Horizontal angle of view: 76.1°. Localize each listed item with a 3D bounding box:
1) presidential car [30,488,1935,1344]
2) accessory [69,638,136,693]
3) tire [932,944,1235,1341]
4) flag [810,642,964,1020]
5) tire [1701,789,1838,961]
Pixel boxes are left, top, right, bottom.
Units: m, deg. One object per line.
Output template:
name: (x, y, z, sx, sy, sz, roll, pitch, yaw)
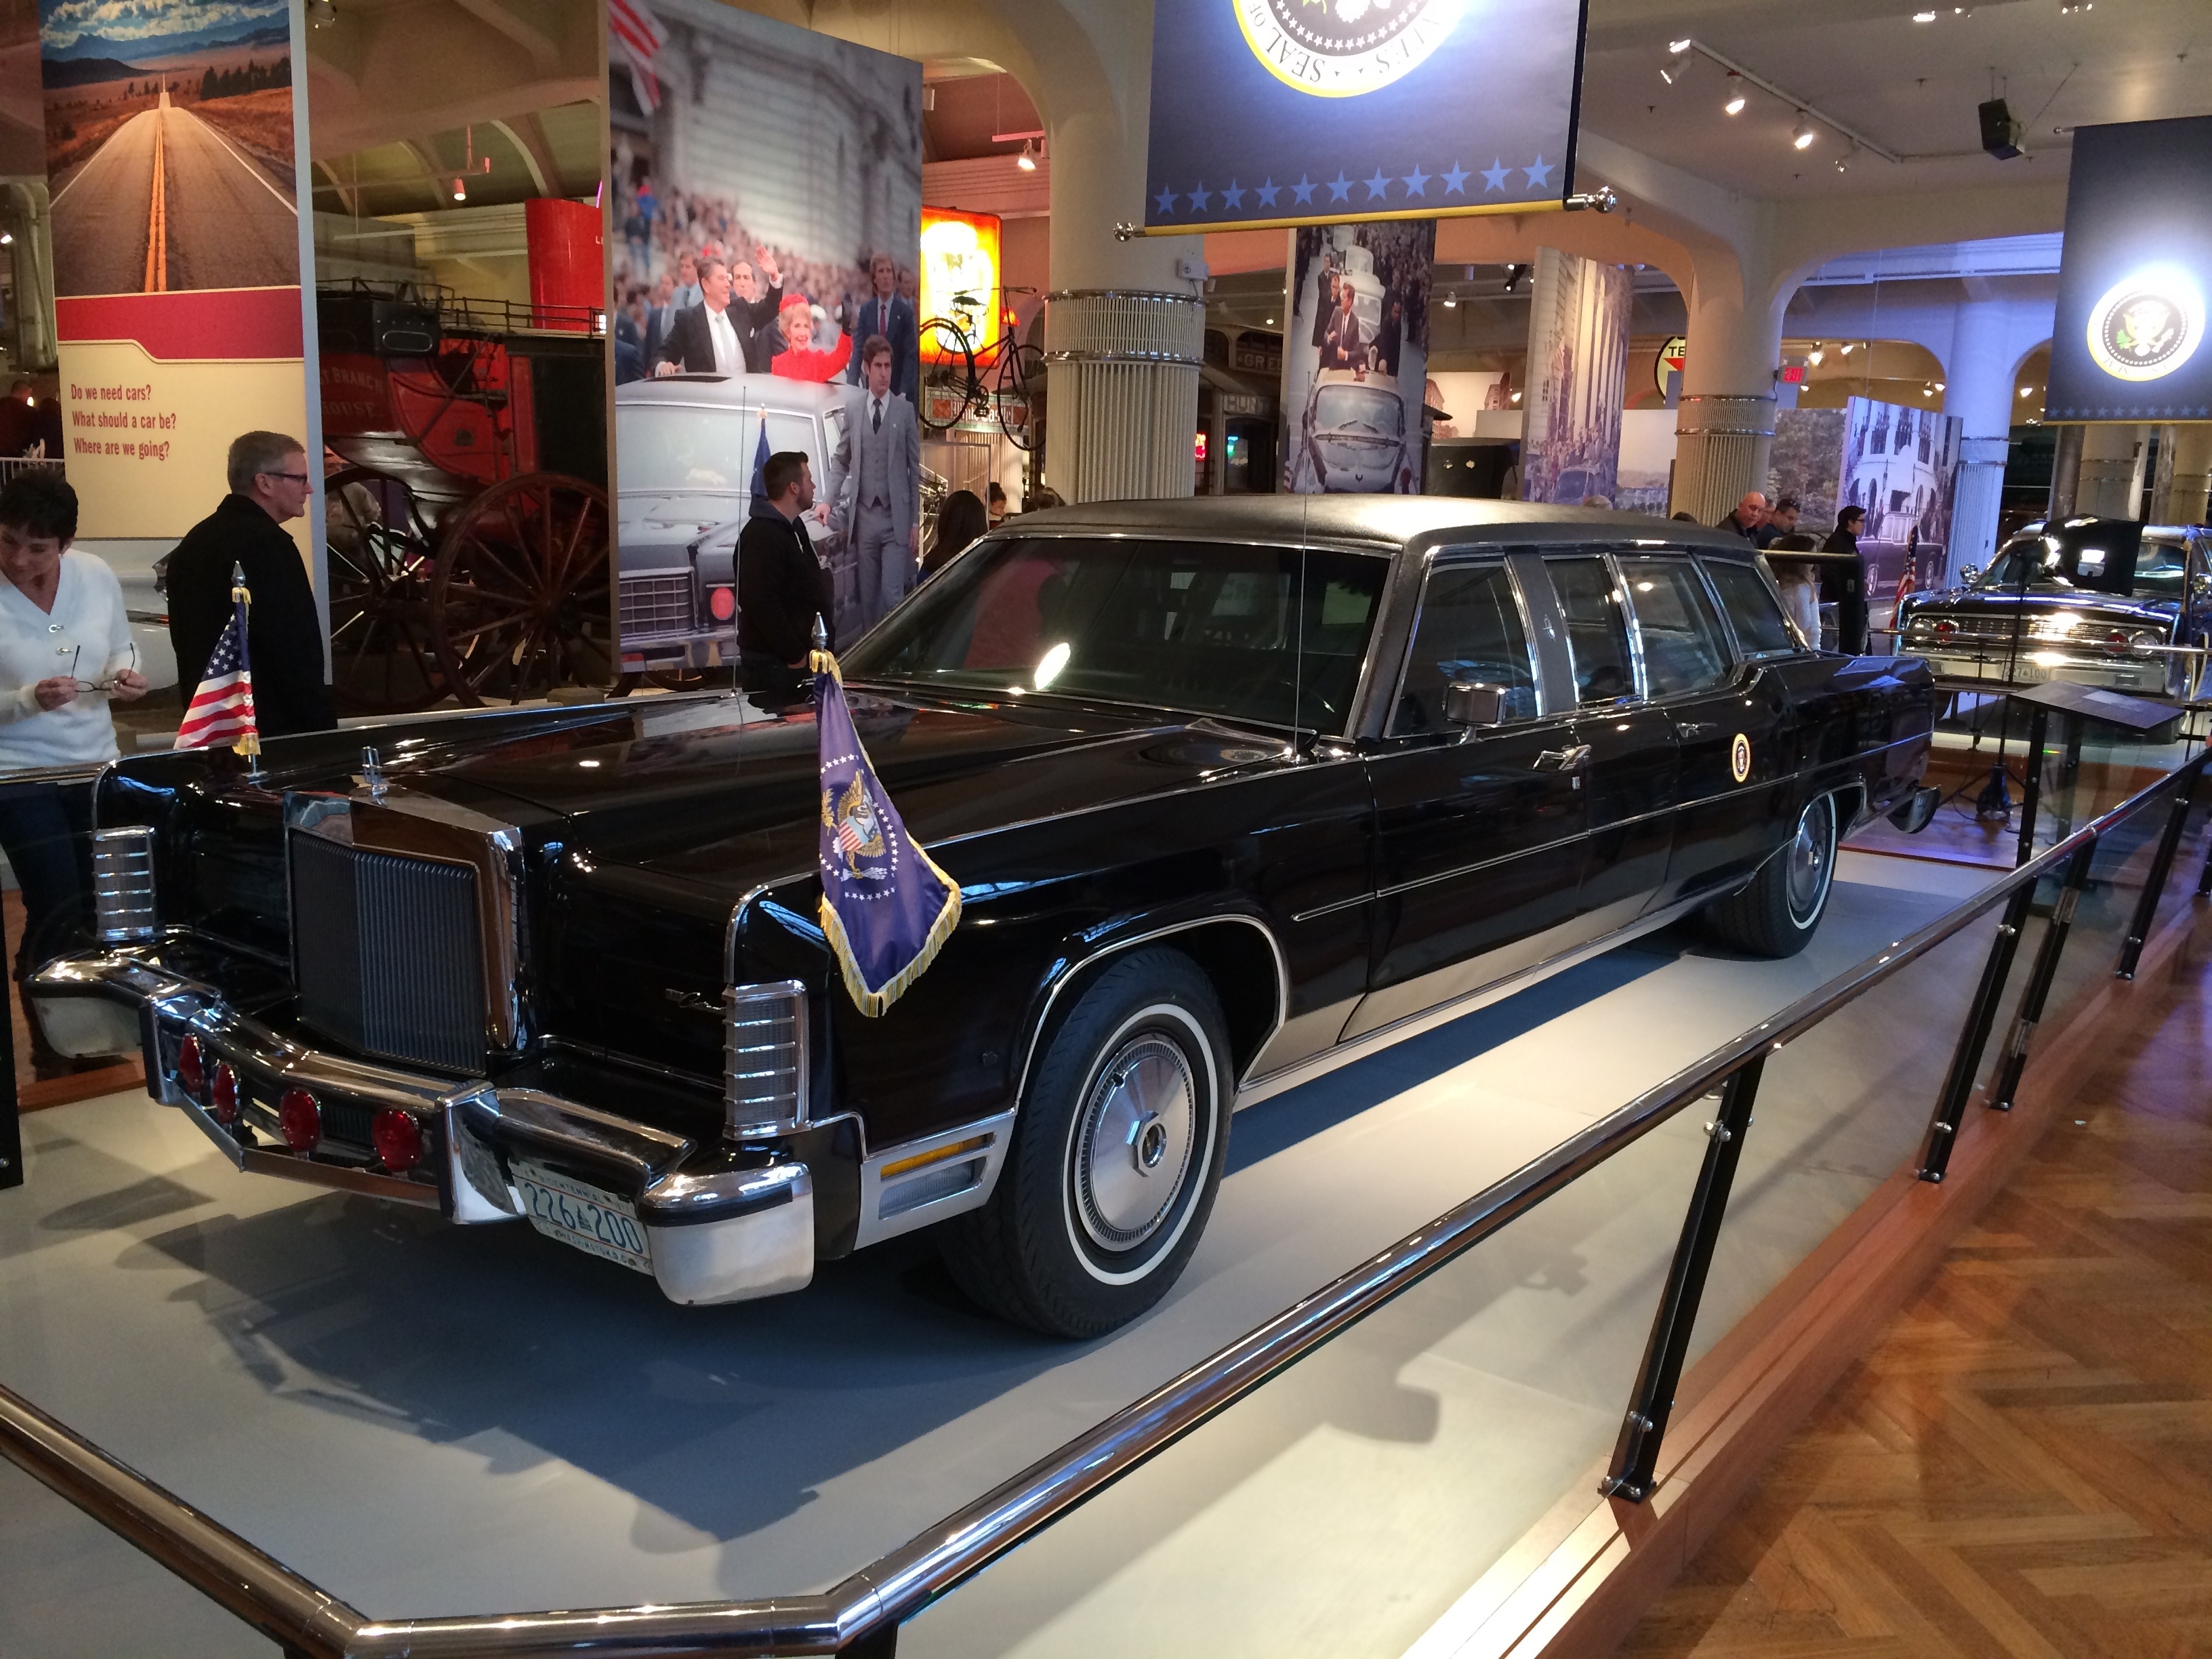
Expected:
presidential car: (0.753, -0.254, 4.876, 2.070, 1.759, 7.019, 15, 18, 43)
accessory: (-2.887, -0.467, 4.085, 0.190, 0.196, 0.061, -9, -19, 29)
tire: (-0.024, 0.649, 3.048, 0.295, 0.822, 0.837, 7, -3, 42)
flag: (-0.367, 0.007, 2.372, 0.233, 0.577, 0.183, 0, 14, -11)
tire: (2.528, 0.160, 5.436, 0.214, 0.604, 0.612, 12, 16, 43)
